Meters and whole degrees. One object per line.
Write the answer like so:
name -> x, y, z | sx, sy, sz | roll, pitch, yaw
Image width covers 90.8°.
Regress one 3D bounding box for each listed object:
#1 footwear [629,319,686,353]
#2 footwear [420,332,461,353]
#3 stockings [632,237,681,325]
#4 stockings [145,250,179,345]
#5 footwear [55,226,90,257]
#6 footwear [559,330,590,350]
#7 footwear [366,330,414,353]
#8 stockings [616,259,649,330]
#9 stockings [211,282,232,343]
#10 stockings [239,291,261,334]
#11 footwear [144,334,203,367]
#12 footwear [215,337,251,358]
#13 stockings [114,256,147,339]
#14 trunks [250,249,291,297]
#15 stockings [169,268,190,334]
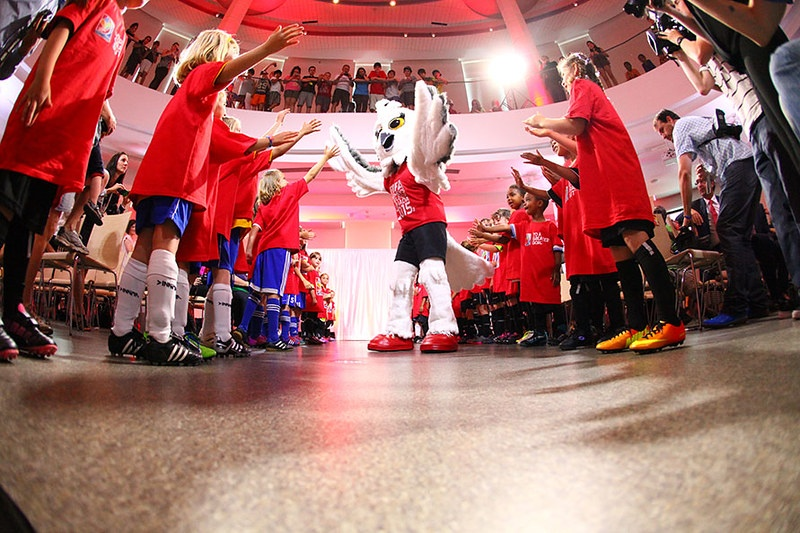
footwear -> 1.165, 0.306, 1.825 | 0.311, 0.129, 0.106 | -8, -6, -9
footwear -> 0.298, 0.537, 2.846 | 0.117, 0.088, 0.245 | -12, -21, 41
stockings -> 1.242, 0.096, 1.874 | 0.107, 0.469, 0.191 | 6, -13, -38
stockings -> -1.019, 0.115, 1.683 | 0.106, 0.390, 0.081 | -1, -2, -24
footwear -> -2.271, -0.183, 2.720 | 0.135, 0.167, 0.372 | -1, -1, -32
footwear -> 1.212, 0.506, 2.793 | 0.349, 0.137, 0.115 | 5, -17, -32
footwear -> -0.072, 0.562, 3.026 | 0.312, 0.133, 0.142 | 7, -12, -16
stockings -> 1.283, 0.166, 2.141 | 0.167, 0.452, 0.103 | 7, -5, -29
stockings -> -1.159, 0.280, 2.567 | 0.128, 0.366, 0.127 | -4, -16, -13
stockings -> -1.403, 0.406, 3.637 | 0.189, 0.385, 0.311 | -1, -2, -30
footwear -> -0.915, 0.361, 1.708 | 0.306, 0.137, 0.108 | 11, -4, -32
footwear -> -1.074, 0.511, 2.509 | 0.265, 0.135, 0.093 | 4, -5, -19
stockings -> -1.196, 0.152, 1.724 | 0.104, 0.346, 0.111 | -2, -16, 21
trunks -> -1.179, 0.011, 3.602 | 0.426, 0.421, 0.254 | 5, -8, 36
stockings -> -1.160, 0.178, 2.094 | 0.072, 0.315, 0.077 | 21, 19, 24
